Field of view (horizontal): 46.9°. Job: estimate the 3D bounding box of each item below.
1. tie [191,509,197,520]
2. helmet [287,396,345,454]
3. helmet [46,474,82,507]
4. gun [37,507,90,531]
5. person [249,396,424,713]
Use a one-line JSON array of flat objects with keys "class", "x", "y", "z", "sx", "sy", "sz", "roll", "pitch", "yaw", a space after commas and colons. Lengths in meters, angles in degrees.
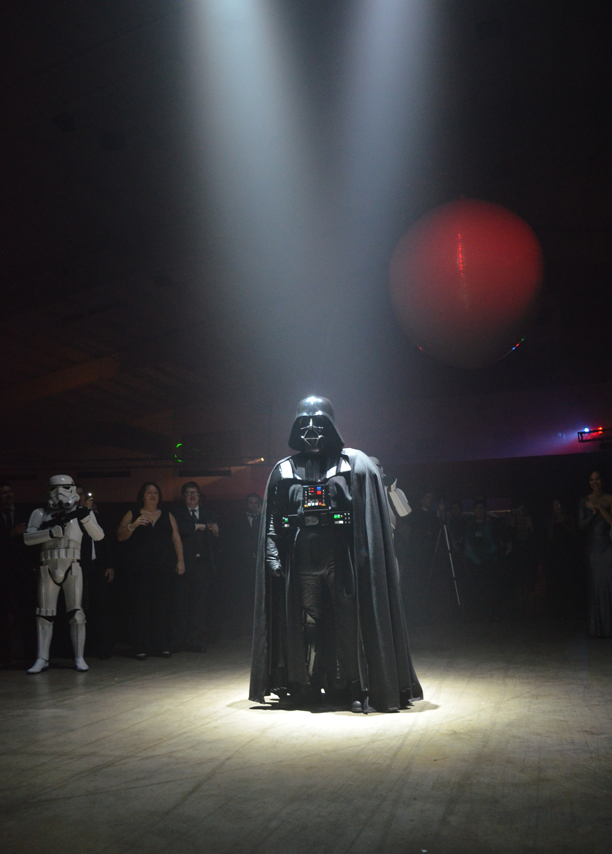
[{"class": "tie", "x": -1.375, "y": 1.083, "z": 8.744, "sx": 0.069, "sy": 0.104, "sz": 0.024, "roll": -2, "pitch": -9, "yaw": -20}, {"class": "helmet", "x": 0.113, "y": -0.019, "z": 5.225, "sx": 0.378, "sy": 0.443, "sz": 0.396, "roll": -15, "pitch": -17, "yaw": 35}, {"class": "helmet", "x": -2.411, "y": 0.679, "z": 7.064, "sx": 0.257, "sy": 0.317, "sz": 0.319, "roll": -5, "pitch": -26, "yaw": -11}, {"class": "gun", "x": -2.346, "y": 0.884, "z": 6.935, "sx": 0.251, "sy": 0.090, "sz": 0.257, "roll": -2, "pitch": 19, "yaw": 44}, {"class": "person", "x": 0.151, "y": 0.820, "z": 4.949, "sx": 1.144, "sy": 2.182, "sz": 0.452, "roll": -5, "pitch": -11, "yaw": 20}]
